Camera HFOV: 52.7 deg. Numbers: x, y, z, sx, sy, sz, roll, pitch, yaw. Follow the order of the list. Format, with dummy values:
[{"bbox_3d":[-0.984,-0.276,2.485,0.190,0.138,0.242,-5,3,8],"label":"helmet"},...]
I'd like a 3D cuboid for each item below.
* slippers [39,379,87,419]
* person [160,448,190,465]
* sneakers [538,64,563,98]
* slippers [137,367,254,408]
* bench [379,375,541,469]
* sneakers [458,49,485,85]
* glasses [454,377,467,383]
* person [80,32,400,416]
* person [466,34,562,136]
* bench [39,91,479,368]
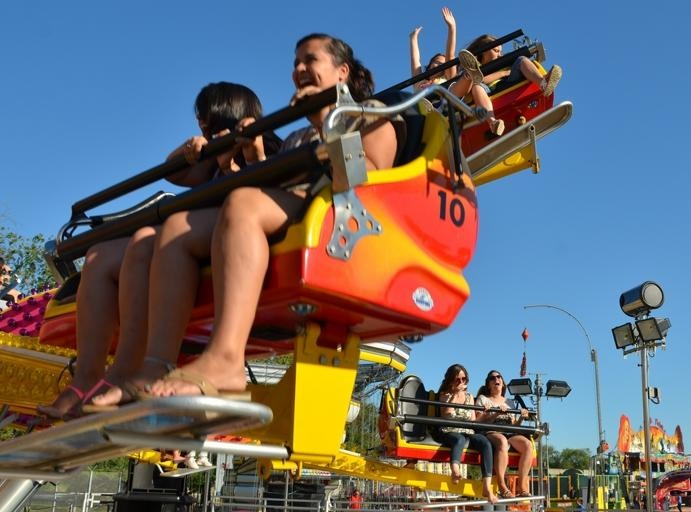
[{"bbox_3d":[-1.231,0.640,3.106,0.097,0.097,0.344,13,17,4],"label":"slippers"},{"bbox_3d":[-2.619,3.059,10.660,0.414,0.146,1.316,10,-24,-13],"label":"person"},{"bbox_3d":[1.854,-1.621,6.311,0.155,0.239,0.412,2,-23,5],"label":"sneakers"},{"bbox_3d":[-0.574,0.530,2.664,0.403,0.137,0.162,12,-21,-24],"label":"slippers"},{"bbox_3d":[1.028,1.795,7.500,1.210,0.711,0.650,13,-6,-18],"label":"bench"},{"bbox_3d":[0.967,-1.485,5.378,0.134,0.194,0.438,-5,-25,21],"label":"sneakers"},{"bbox_3d":[1.318,1.403,7.898,0.082,0.042,0.105,5,-6,-21],"label":"glasses"},{"bbox_3d":[-0.373,-0.267,3.424,0.734,2.126,1.351,-11,-22,40],"label":"person"},{"bbox_3d":[1.465,-1.618,7.240,1.144,0.830,1.655,-14,10,7],"label":"person"},{"bbox_3d":[-0.527,-0.147,4.133,2.292,1.676,1.444,-16,-22,42],"label":"bench"}]
